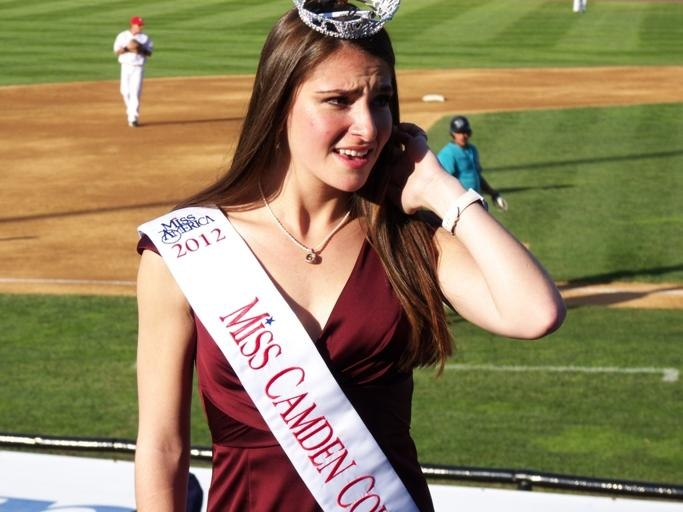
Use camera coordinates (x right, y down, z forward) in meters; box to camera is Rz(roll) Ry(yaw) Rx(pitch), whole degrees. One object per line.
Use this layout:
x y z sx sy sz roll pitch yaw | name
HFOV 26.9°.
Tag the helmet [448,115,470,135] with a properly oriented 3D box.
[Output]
1.582 -1.796 19.392 0.212 0.207 0.271 -4 -11 -2 | helmet
